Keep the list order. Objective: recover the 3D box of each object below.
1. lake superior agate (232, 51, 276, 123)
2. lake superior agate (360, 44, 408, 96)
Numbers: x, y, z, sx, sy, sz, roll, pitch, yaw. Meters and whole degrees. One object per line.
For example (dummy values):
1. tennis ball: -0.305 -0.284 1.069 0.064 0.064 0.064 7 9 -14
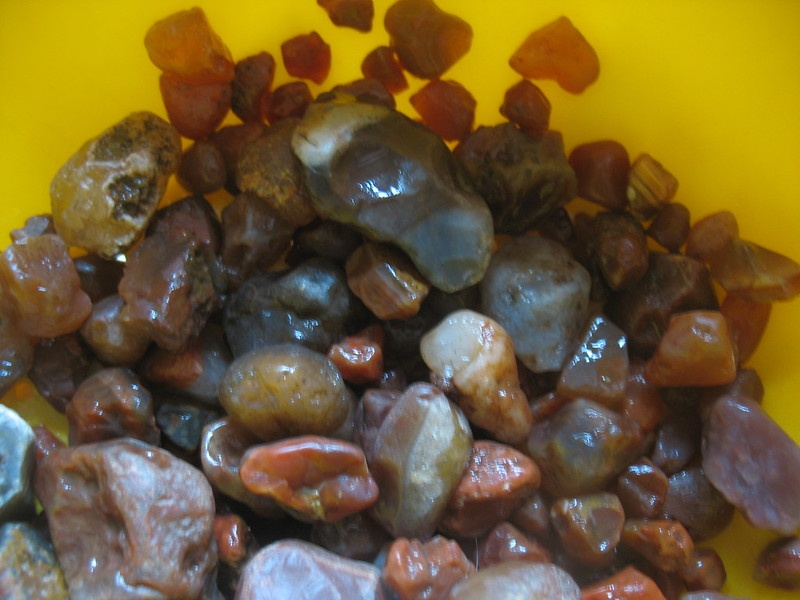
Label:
1. lake superior agate: -0.171 -0.246 1.132 0.062 0.073 0.021 36 23 24
2. lake superior agate: -0.017 -0.274 1.150 0.044 0.057 0.014 -28 15 3
